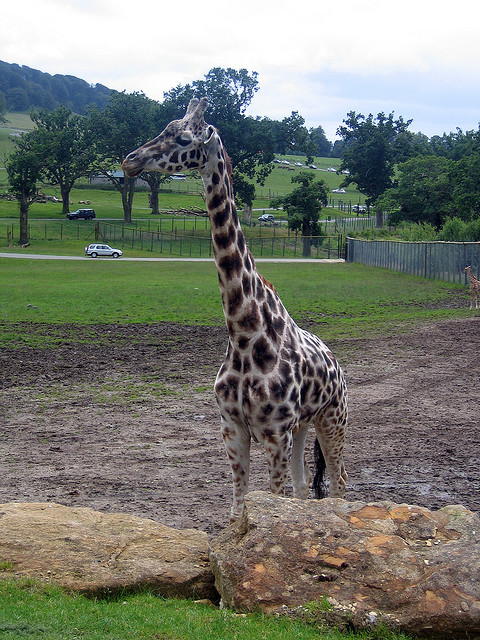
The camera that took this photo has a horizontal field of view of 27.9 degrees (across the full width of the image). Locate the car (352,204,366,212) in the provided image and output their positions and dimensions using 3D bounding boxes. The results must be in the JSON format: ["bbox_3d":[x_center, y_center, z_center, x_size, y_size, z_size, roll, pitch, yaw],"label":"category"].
[{"bbox_3d":[16.698,-15.410,135.261,1.579,0.655,2.370,4,9,11],"label":"car"}]

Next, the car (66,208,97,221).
[{"bbox_3d":[-14.570,-9.514,88.588,2.748,0.933,1.216,1,11,-13],"label":"car"}]

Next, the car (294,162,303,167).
[{"bbox_3d":[11.613,-30.474,191.131,1.254,0.759,2.422,-14,20,-19],"label":"car"}]

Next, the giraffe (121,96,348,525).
[{"bbox_3d":[0.158,-0.072,8.615,2.143,3.742,0.981,-3,6,-35],"label":"giraffe"}]

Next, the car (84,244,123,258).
[{"bbox_3d":[-8.555,-4.218,60.914,2.302,0.712,0.981,-4,14,-17],"label":"car"}]
